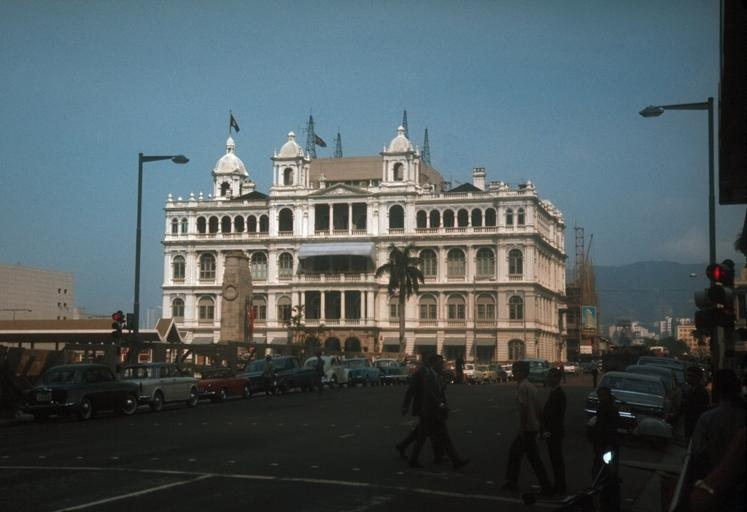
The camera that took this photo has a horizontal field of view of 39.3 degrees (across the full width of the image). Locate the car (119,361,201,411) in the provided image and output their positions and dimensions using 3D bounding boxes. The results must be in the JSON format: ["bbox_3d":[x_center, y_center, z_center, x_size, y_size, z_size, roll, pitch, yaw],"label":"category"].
[{"bbox_3d":[-9.085,5.163,42.527,2.453,1.769,4.859,1,-4,18],"label":"car"}]

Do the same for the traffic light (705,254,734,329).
[{"bbox_3d":[9.684,1.120,29.229,0.781,2.194,0.605,0,2,-4],"label":"traffic light"}]

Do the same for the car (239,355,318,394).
[{"bbox_3d":[-4.668,6.088,52.804,3.041,1.914,5.486,-9,-8,20],"label":"car"}]

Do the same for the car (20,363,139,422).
[{"bbox_3d":[-10.394,4.884,37.406,1.258,1.945,3.956,-7,-10,35],"label":"car"}]
